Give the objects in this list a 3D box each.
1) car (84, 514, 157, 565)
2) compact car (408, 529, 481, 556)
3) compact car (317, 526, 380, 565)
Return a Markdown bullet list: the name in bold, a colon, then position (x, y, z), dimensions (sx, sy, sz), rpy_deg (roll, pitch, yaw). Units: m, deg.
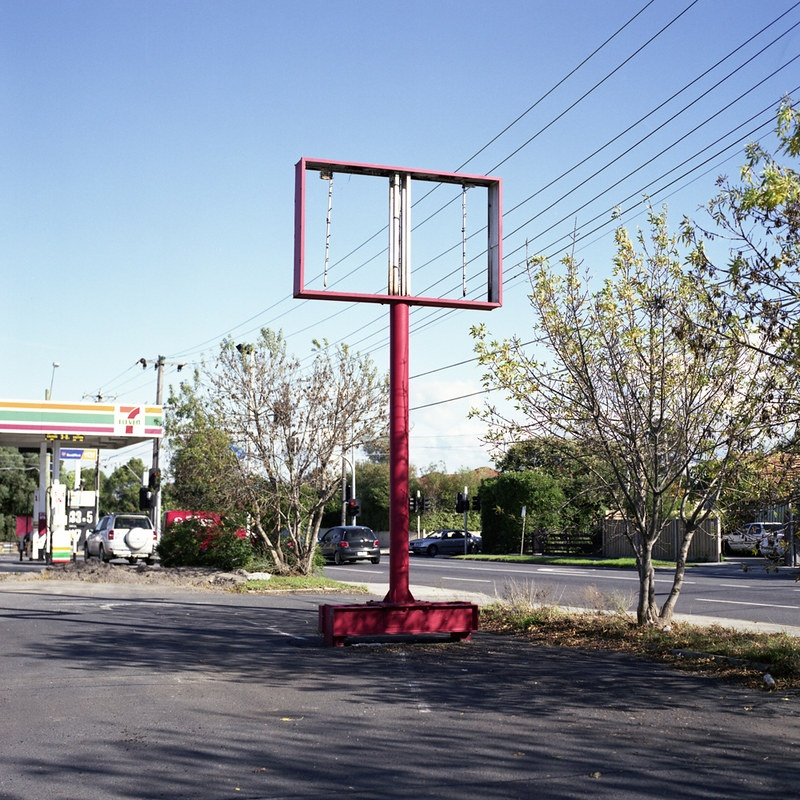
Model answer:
- **car**: position (-8.564, 4.171, 33.445), dimensions (1.431, 1.519, 3.081), rpy_deg (2, -3, -22)
- **compact car**: position (2.246, 6.985, 53.117), dimensions (3.811, 1.326, 3.094), rpy_deg (-4, -11, 29)
- **compact car**: position (-1.943, 5.284, 39.706), dimensions (1.179, 1.102, 2.088), rpy_deg (1, -2, -18)
